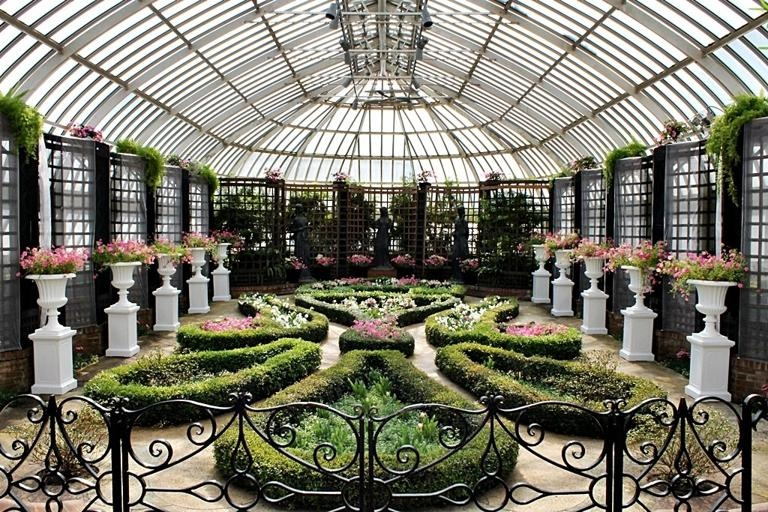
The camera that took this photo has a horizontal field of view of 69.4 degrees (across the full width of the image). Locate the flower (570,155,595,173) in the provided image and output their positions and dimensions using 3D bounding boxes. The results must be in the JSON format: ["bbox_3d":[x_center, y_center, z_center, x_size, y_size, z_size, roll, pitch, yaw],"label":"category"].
[{"bbox_3d":[5.198,-2.388,14.531,0.549,0.290,0.499,-8,6,-1],"label":"flower"}]

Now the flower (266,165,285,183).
[{"bbox_3d":[-3.425,-2.551,17.450,0.535,0.460,0.515,-2,2,-11],"label":"flower"}]

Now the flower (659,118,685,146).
[{"bbox_3d":[5.653,-2.459,10.849,0.591,0.504,0.241,11,29,15],"label":"flower"}]

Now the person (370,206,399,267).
[{"bbox_3d":[0.080,-0.650,19.236,0.639,2.027,0.922,0,2,44],"label":"person"}]

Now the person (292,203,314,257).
[{"bbox_3d":[-2.686,-0.761,17.903,0.506,1.841,0.566,-2,1,-9],"label":"person"}]

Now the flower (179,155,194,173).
[{"bbox_3d":[-5.251,-2.401,14.792,0.368,0.409,1.084,-2,2,-19],"label":"flower"}]

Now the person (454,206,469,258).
[{"bbox_3d":[2.535,-0.775,18.261,0.516,1.751,0.612,-1,1,7],"label":"person"}]
